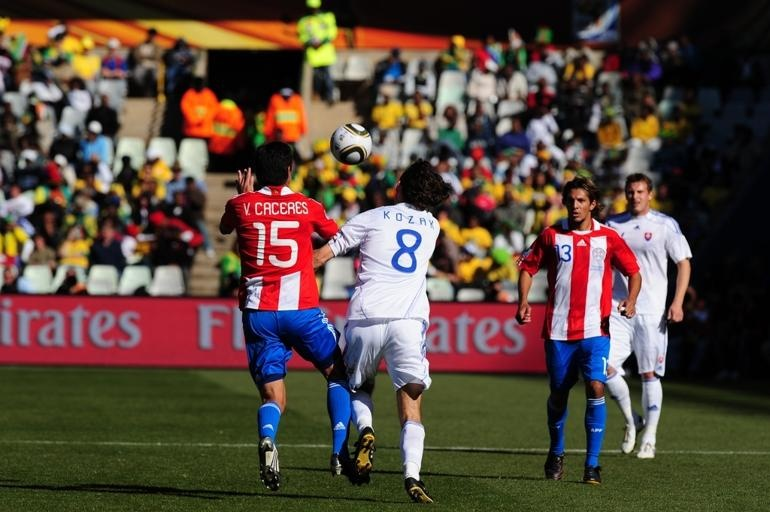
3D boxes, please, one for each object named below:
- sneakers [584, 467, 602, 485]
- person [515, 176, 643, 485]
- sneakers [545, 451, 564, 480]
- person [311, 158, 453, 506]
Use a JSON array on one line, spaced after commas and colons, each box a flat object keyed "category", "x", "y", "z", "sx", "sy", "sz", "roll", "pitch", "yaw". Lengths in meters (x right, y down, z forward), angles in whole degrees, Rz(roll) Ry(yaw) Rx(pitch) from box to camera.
[{"category": "sneakers", "x": 2.672, "y": 2.839, "z": 16.236, "sx": 0.252, "sy": 0.205, "sz": 0.172, "roll": 0, "pitch": 8, "yaw": -2}, {"category": "person", "x": 2.466, "y": 0.947, "z": 16.373, "sx": 1.511, "sy": 3.907, "sz": 0.812, "roll": 2, "pitch": 8, "yaw": 10}, {"category": "sneakers", "x": 2.191, "y": 2.758, "z": 16.368, "sx": 0.154, "sy": 0.445, "sz": 0.189, "roll": 2, "pitch": -46, "yaw": 3}, {"category": "person", "x": 0.091, "y": 0.928, "z": 15.736, "sx": 1.342, "sy": 4.177, "sz": 1.094, "roll": 1, "pitch": 8, "yaw": 2}]
